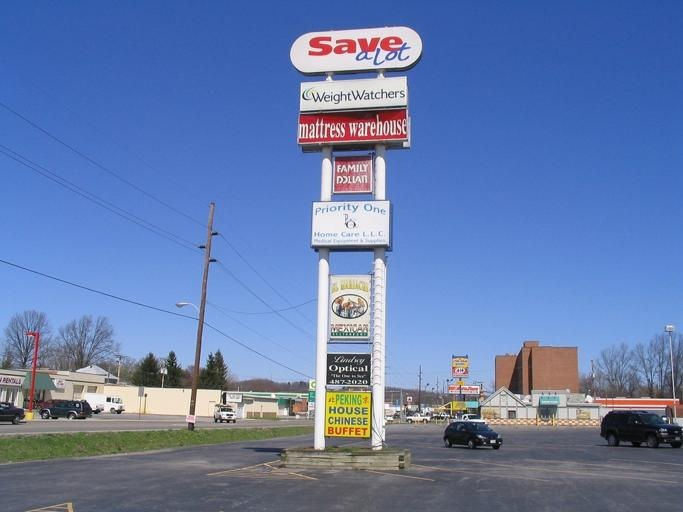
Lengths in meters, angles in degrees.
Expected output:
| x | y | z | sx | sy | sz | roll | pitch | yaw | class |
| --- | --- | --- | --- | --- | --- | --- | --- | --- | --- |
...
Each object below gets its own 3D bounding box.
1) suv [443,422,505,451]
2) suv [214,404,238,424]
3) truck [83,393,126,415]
| x | y | z | sx | sy | sz | roll | pitch | yaw | class |
| --- | --- | --- | --- | --- | --- | --- | --- | --- | --- |
| 8.366 | 11.398 | 40.272 | 1.741 | 1.432 | 3.126 | 6 | -18 | -30 | suv |
| -13.684 | 18.433 | 73.773 | 1.429 | 1.643 | 2.644 | 4 | -17 | -18 | suv |
| -30.146 | 19.097 | 80.012 | 4.750 | 2.937 | 2.897 | -2 | -8 | 5 | truck |
